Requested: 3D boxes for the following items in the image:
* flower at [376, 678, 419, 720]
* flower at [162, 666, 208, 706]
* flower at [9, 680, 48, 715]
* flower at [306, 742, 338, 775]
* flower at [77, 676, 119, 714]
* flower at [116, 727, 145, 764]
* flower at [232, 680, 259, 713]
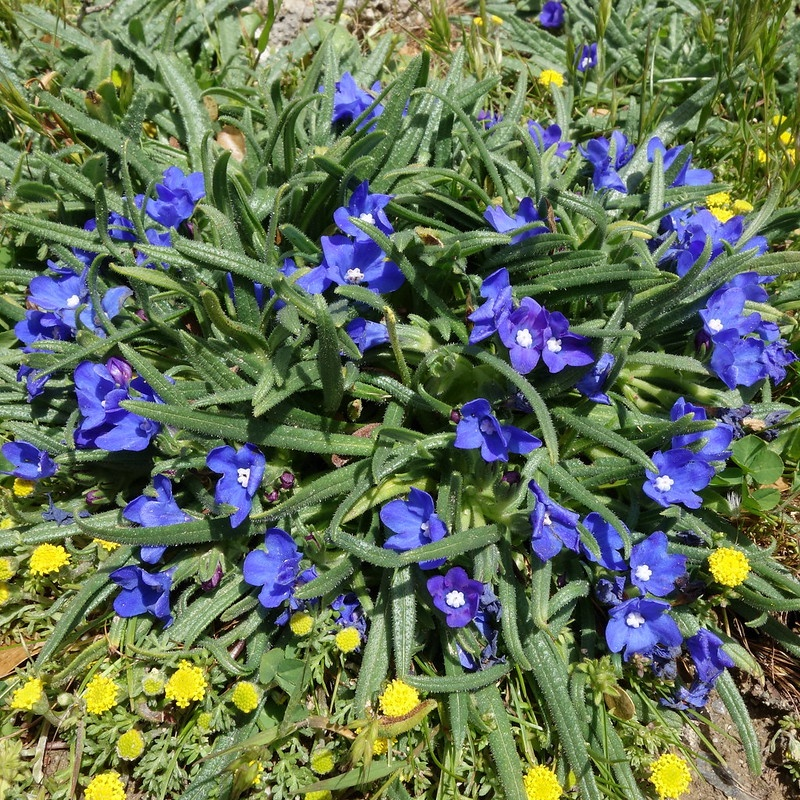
[{"bbox_3d":[-0.005,0.978,2.770,0.116,0.072,0.118,-9,42,8],"label":"flower"},{"bbox_3d":[-0.715,0.966,2.864,0.132,0.108,0.136,29,67,2],"label":"flower"},{"bbox_3d":[-1.263,0.994,2.918,0.109,0.044,0.117,-30,33,16],"label":"flower"},{"bbox_3d":[-0.255,1.198,2.806,0.086,0.043,0.093,26,78,-25],"label":"flower"},{"bbox_3d":[-1.018,1.006,2.903,0.111,0.095,0.123,16,67,-4],"label":"flower"},{"bbox_3d":[-0.906,1.165,2.870,0.086,0.096,0.091,21,67,-2],"label":"flower"},{"bbox_3d":[-0.512,0.988,2.835,0.089,0.036,0.105,8,97,23],"label":"flower"}]
